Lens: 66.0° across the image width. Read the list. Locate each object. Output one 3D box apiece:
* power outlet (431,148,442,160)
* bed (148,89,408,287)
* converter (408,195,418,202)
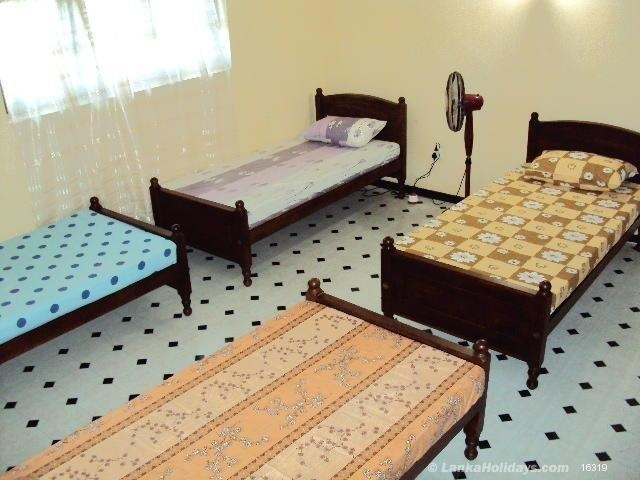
[{"bbox_3d":[1.649,-1.225,7.093,0.101,0.144,0.036,10,5,31],"label":"power outlet"},{"bbox_3d":[-0.367,-0.684,7.183,1.955,1.988,3.870,23,40,33],"label":"bed"},{"bbox_3d":[1.383,-0.614,7.323,0.136,0.134,0.101,-22,25,-33],"label":"converter"}]
